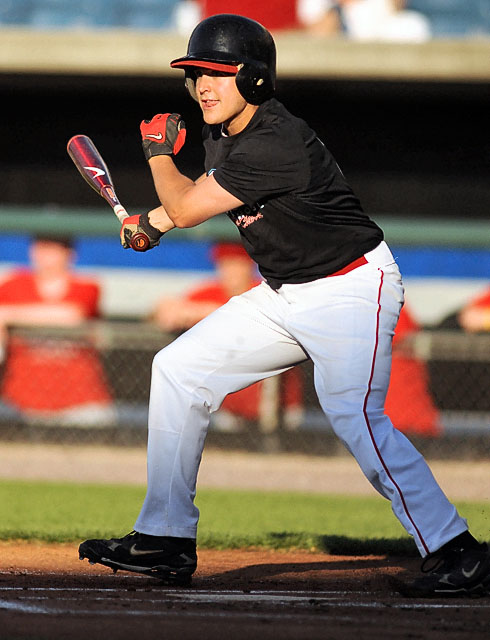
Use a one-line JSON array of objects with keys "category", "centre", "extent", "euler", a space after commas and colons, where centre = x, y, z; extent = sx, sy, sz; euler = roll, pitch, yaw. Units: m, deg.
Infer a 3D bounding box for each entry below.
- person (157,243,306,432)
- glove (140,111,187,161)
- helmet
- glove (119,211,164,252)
[{"category": "person", "centre": [-0.055, 0.083, 5.527], "extent": [1.021, 1.116, 0.541], "euler": [-11, 2, 38]}, {"category": "glove", "centre": [-0.221, -0.509, 2.476], "extent": [0.166, 0.117, 0.064], "euler": [-3, -7, 20]}, {"category": "helmet", "centre": [-0.051, -0.693, 2.358], "extent": [0.303, 0.175, 0.233], "euler": [-11, 19, -34]}, {"category": "glove", "centre": [-0.261, -0.245, 2.479], "extent": [0.147, 0.100, 0.094], "euler": [3, 24, 8]}]
